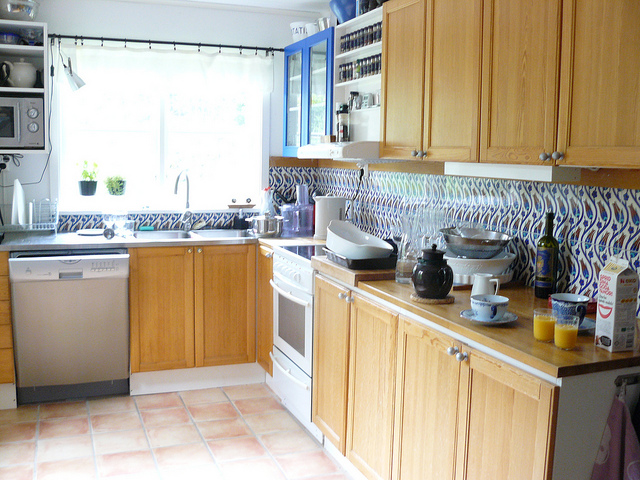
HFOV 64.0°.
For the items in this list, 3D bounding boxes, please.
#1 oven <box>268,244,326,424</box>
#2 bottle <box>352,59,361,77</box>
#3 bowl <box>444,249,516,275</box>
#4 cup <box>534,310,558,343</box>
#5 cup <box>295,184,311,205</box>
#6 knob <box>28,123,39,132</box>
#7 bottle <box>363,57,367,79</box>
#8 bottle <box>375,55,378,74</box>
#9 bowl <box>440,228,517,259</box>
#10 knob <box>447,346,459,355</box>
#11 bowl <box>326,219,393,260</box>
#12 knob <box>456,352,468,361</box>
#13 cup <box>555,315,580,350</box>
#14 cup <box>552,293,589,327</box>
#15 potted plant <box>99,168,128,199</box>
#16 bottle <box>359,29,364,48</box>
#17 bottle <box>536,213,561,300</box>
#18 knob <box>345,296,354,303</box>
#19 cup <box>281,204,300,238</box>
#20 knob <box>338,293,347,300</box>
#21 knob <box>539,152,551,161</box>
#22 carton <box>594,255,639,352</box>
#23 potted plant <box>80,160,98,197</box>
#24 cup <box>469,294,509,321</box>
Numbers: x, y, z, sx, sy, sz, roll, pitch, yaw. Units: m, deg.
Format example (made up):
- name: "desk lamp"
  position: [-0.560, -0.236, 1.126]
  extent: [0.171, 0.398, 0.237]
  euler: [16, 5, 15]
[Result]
- name: "oven"
  position: [-0.165, 0.633, 3.571]
  extent: [0.252, 1.110, 0.722]
  euler: [-2, 10, -16]
- name: "bottle"
  position: [0.244, -1.212, 3.612]
  extent: [0.030, 0.112, 0.115]
  euler: [-3, 11, -27]
- name: "bowl"
  position: [0.817, 0.117, 2.641]
  extent: [0.349, 0.112, 0.240]
  euler: [4, 10, 17]
- name: "cup"
  position: [0.841, 0.321, 1.914]
  extent: [0.073, 0.113, 0.062]
  euler: [4, 10, 20]
- name: "cup"
  position: [-0.157, -0.415, 4.660]
  extent: [0.136, 0.180, 0.344]
  euler: [1, 10, -1]
- name: "knob"
  position: [-2.140, -0.835, 3.802]
  extent: [0.056, 0.060, 0.030]
  euler: [-1, 5, -18]
- name: "bottle"
  position: [0.307, -1.180, 3.506]
  extent: [0.022, 0.129, 0.077]
  euler: [0, 9, -5]
- name: "bottle"
  position: [0.373, -1.168, 3.406]
  extent: [0.011, 0.124, 0.040]
  euler: [-2, 10, -18]
- name: "bowl"
  position: [0.826, 0.034, 2.772]
  extent: [0.410, 0.160, 0.423]
  euler: [-1, 11, 0]
- name: "knob"
  position: [0.541, 0.453, 2.085]
  extent: [0.035, 0.031, 0.029]
  euler: [1, -1, -15]
- name: "bowl"
  position: [0.194, 0.005, 3.110]
  extent: [0.279, 0.119, 0.553]
  euler: [1, 18, -28]
- name: "knob"
  position: [0.567, 0.468, 2.042]
  extent: [0.034, 0.033, 0.029]
  euler: [1, -8, -16]
- name: "cup"
  position: [0.892, 0.336, 1.861]
  extent: [0.086, 0.124, 0.075]
  euler: [4, -1, 3]
- name: "cup"
  position: [0.996, 0.287, 2.024]
  extent: [0.133, 0.117, 0.152]
  euler: [-1, 2, 3]
- name: "potted plant"
  position: [-1.735, -0.461, 4.344]
  extent: [0.247, 0.252, 0.245]
  euler: [0, -4, -13]
- name: "bottle"
  position: [0.284, -1.385, 3.505]
  extent: [0.022, 0.120, 0.065]
  euler: [1, 9, -3]
- name: "bottle"
  position: [1.099, 0.076, 2.467]
  extent: [0.092, 0.404, 0.124]
  euler: [8, 12, 38]
- name: "knob"
  position: [0.160, 0.331, 2.810]
  extent: [0.010, 0.041, 0.064]
  euler: [-6, 12, -38]
- name: "cup"
  position: [-0.260, -0.152, 4.429]
  extent: [0.245, 0.255, 0.158]
  euler: [2, 3, 16]
- name: "knob"
  position: [0.118, 0.317, 2.858]
  extent: [0.038, 0.020, 0.030]
  euler: [-3, -2, -31]
- name: "knob"
  position: [0.922, -0.340, 2.094]
  extent: [0.032, 0.034, 0.037]
  euler: [3, 5, 9]
- name: "carton"
  position: [1.076, 0.234, 1.848]
  extent: [0.131, 0.316, 0.148]
  euler: [6, 11, 30]
- name: "potted plant"
  position: [-1.948, -0.526, 4.299]
  extent: [0.127, 0.278, 0.230]
  euler: [-2, 10, -18]
- name: "cup"
  position: [0.692, 0.267, 2.082]
  extent: [0.109, 0.067, 0.112]
  euler: [0, 3, 0]
